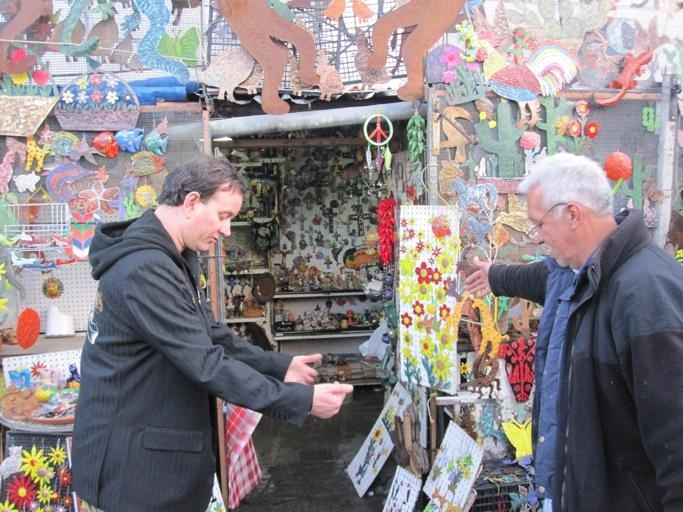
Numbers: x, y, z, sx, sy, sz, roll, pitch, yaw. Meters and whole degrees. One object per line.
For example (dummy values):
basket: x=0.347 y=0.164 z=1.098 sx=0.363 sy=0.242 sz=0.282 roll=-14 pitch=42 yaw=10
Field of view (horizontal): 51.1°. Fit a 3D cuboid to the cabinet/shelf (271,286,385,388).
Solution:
cabinet/shelf: x=-0.099 y=1.010 z=8.662 sx=1.430 sy=1.072 sz=0.530 roll=0 pitch=2 yaw=-6
